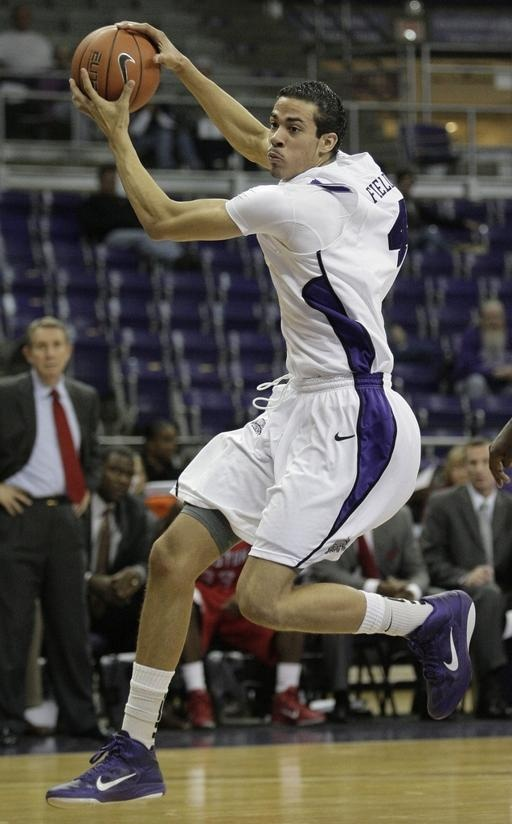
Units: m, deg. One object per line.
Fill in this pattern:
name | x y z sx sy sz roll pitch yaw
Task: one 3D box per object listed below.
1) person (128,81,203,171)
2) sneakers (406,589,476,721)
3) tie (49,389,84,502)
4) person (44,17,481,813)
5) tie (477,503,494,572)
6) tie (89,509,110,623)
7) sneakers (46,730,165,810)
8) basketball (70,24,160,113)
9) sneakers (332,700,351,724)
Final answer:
person | -1.075 -3.231 11.726 0.978 0.725 0.369 -3 -1 -40
sneakers | 0.497 0.674 2.667 0.201 0.357 0.134 -6 6 -13
tie | -0.837 0.147 4.339 0.139 0.492 0.040 -22 -16 5
person | 0.069 0.040 2.428 1.054 1.687 0.501 -2 10 -10
tie | 1.297 0.677 5.583 0.097 0.420 0.048 -18 29 -31
tie | -0.793 0.783 5.206 0.090 0.676 0.079 -9 -14 14
sneakers | -0.351 0.825 2.318 0.289 0.142 0.088 8 -14 -31
basketball | -0.372 -0.914 2.664 0.224 0.215 0.199 14 24 6
sneakers | 0.421 1.448 4.879 0.060 0.055 0.147 3 -3 4
